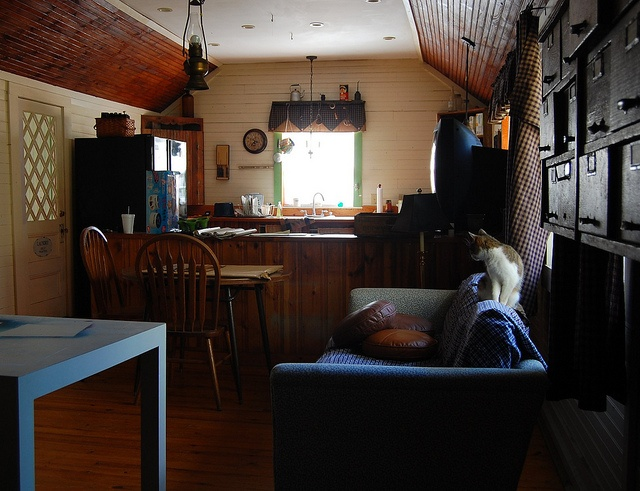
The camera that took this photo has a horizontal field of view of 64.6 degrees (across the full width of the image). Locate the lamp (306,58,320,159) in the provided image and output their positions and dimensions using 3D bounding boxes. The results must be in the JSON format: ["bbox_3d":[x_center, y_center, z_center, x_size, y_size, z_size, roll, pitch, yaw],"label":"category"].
[{"bbox_3d":[-0.136,-2.065,7.622,0.146,1.459,0.439,2,5,-2],"label":"lamp"}]

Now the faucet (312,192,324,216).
[{"bbox_3d":[-0.032,-0.659,7.702,0.156,0.337,0.365,3,6,11],"label":"faucet"}]

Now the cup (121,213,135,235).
[{"bbox_3d":[-1.679,-0.198,4.433,0.085,0.156,0.095,-1,6,-32],"label":"cup"}]

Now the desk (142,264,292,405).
[{"bbox_3d":[-0.722,0.412,3.584,0.929,0.822,1.056,0,2,10],"label":"desk"}]

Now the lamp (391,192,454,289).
[{"bbox_3d":[0.731,-0.031,3.634,0.382,0.697,0.468,3,5,15],"label":"lamp"}]

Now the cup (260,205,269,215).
[{"bbox_3d":[-0.771,-0.523,7.275,0.121,0.121,0.287,2,6,-2],"label":"cup"}]

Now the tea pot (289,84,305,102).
[{"bbox_3d":[-0.336,-2.326,7.657,0.223,0.306,0.158,2,5,-4],"label":"tea pot"}]

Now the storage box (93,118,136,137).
[{"bbox_3d":[-2.246,-1.310,5.693,0.314,0.166,0.238,5,5,25],"label":"storage box"}]

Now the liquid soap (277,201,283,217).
[{"bbox_3d":[-0.598,-0.573,7.672,0.081,0.208,0.339,1,6,-5],"label":"liquid soap"}]

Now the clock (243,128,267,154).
[{"bbox_3d":[-0.987,-1.613,7.764,0.337,0.375,0.076,-1,6,2],"label":"clock"}]

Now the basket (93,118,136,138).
[{"bbox_3d":[-2.302,-1.325,5.695,0.324,0.163,0.232,3,12,7],"label":"basket"}]
